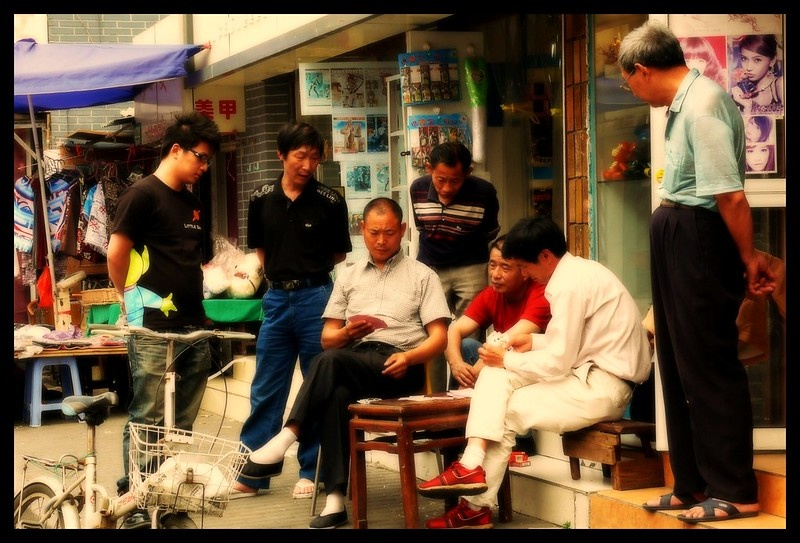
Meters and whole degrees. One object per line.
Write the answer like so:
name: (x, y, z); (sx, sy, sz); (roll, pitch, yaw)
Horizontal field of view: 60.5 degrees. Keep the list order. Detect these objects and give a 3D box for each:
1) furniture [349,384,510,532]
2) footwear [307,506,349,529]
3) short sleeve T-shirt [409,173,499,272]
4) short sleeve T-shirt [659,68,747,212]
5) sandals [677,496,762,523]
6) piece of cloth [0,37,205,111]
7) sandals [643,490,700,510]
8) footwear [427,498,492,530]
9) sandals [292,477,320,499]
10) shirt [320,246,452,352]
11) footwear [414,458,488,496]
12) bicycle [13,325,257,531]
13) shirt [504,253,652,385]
furniture: (0.114, 1.255, 4.633); (0.601, 0.687, 0.804); (-13, -14, 38)
footwear: (-0.484, 1.646, 4.623); (0.232, 0.082, 0.117); (5, -9, -39)
short sleeve T-shirt: (0.473, -0.407, 5.859); (0.854, 0.780, 0.503); (4, 9, 25)
short sleeve T-shirt: (1.707, -0.722, 3.894); (0.526, 0.785, 0.995); (0, 3, 15)
sandals: (1.778, 1.312, 3.827); (0.394, 0.098, 0.157); (0, -8, -1)
piece of cloth: (-4.037, -2.848, 9.633); (2.394, 0.603, 2.323); (-8, 7, -25)
sandals: (1.602, 1.335, 4.054); (0.300, 0.077, 0.112); (-1, -2, 9)
footwear: (0.408, 1.542, 4.376); (0.466, 0.186, 0.163); (2, -6, -3)
sandals: (-0.747, 1.656, 5.265); (0.176, 0.118, 0.313); (-1, -6, 19)
shirt: (-0.083, 0.210, 5.153); (0.980, 0.728, 0.490); (1, 4, 15)
footwear: (0.332, 1.255, 4.113); (0.475, 0.206, 0.165); (1, -16, -2)
bicycle: (-1.706, 1.178, 4.199); (1.385, 1.225, 0.745); (1, -13, 12)
shirt: (1.171, 0.271, 4.567); (0.828, 0.651, 0.862); (1, 3, 28)
